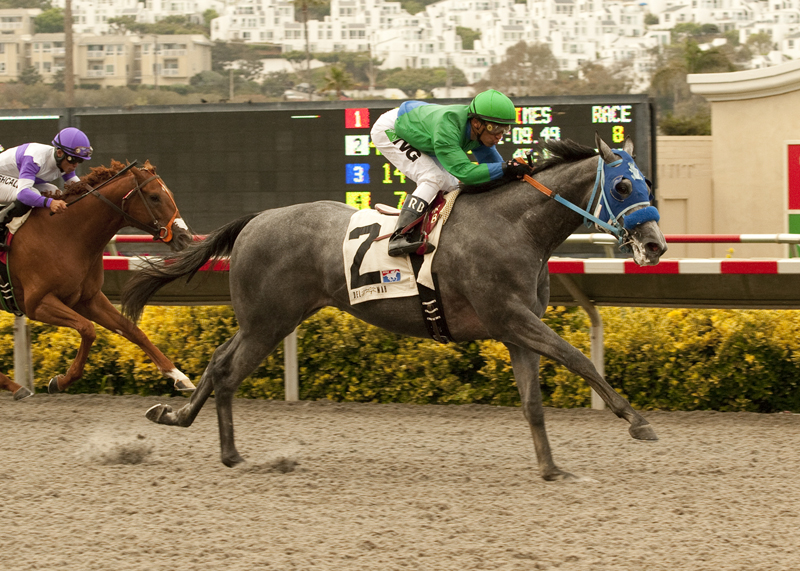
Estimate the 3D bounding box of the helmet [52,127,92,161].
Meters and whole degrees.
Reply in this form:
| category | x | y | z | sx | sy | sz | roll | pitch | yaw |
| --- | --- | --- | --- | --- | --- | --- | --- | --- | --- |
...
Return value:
| category | x | y | z | sx | sy | sz | roll | pitch | yaw |
| --- | --- | --- | --- | --- | --- | --- | --- | --- | --- |
| helmet | -2.276 | -0.990 | 8.675 | 0.331 | 0.139 | 0.204 | 13 | 11 | 1 |

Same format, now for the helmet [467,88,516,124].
| category | x | y | z | sx | sy | sz | roll | pitch | yaw |
| --- | --- | --- | --- | --- | --- | --- | --- | --- | --- |
| helmet | 0.559 | -1.085 | 7.461 | 0.328 | 0.138 | 0.196 | 10 | 25 | 15 |

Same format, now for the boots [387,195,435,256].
| category | x | y | z | sx | sy | sz | roll | pitch | yaw |
| --- | --- | --- | --- | --- | --- | --- | --- | --- | --- |
| boots | 0.058 | -0.356 | 7.431 | 0.261 | 0.343 | 0.203 | -2 | 15 | -1 |

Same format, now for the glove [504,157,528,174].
| category | x | y | z | sx | sy | sz | roll | pitch | yaw |
| --- | --- | --- | --- | --- | --- | --- | --- | --- | --- |
| glove | 0.693 | -0.710 | 7.382 | 0.148 | 0.081 | 0.049 | -10 | -23 | 14 |
